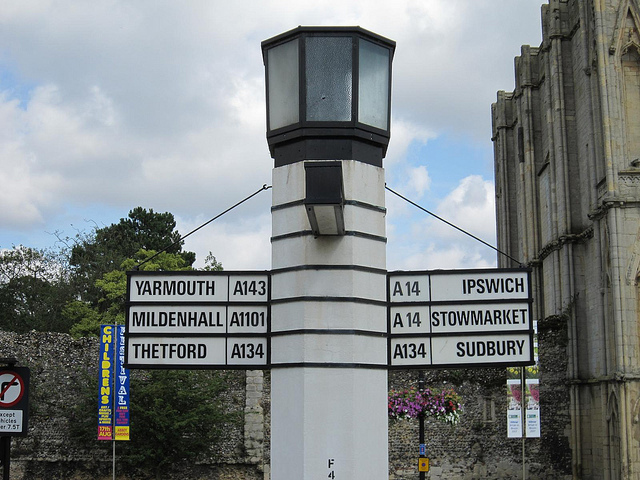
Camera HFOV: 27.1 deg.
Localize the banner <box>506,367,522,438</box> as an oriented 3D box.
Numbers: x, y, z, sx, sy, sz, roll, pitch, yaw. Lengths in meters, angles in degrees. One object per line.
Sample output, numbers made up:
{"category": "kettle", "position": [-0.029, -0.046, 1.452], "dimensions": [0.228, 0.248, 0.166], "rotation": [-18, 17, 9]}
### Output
{"category": "banner", "position": [10.547, 8.568, 71.742], "dimensions": [0.749, 3.632, 1.063], "rotation": [-2, -19, 2]}
